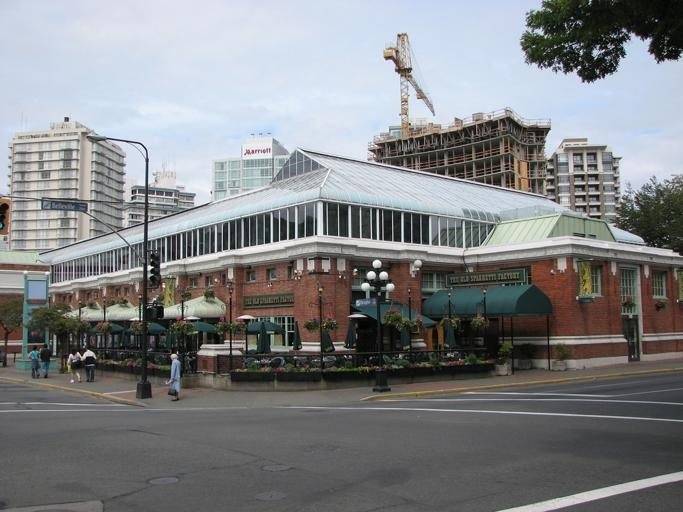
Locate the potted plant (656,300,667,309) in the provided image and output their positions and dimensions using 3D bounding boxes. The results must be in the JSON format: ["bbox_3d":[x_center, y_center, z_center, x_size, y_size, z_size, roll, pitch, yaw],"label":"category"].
[{"bbox_3d":[21.075,3.208,57.791,0.421,0.612,1.318,-5,-8,30],"label":"potted plant"}]

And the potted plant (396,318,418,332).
[{"bbox_3d":[3.306,3.570,45.211,1.234,0.721,1.201,2,-3,-19],"label":"potted plant"}]

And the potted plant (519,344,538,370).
[{"bbox_3d":[10.780,5.823,50.895,1.090,1.402,0.939,-2,-7,11],"label":"potted plant"}]

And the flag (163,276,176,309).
[{"bbox_3d":[-12.081,2.441,61.396,0.418,2.046,1.961,2,-7,-24],"label":"flag"}]

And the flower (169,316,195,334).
[{"bbox_3d":[-8.577,3.841,47.229,1.300,0.858,1.307,4,-8,-11],"label":"flower"}]

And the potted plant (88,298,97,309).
[{"bbox_3d":[-19.738,3.784,69.527,0.647,0.648,0.833,3,7,-45],"label":"potted plant"}]

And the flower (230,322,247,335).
[{"bbox_3d":[-5.552,3.840,46.426,0.772,0.609,0.752,9,-13,-43],"label":"flower"}]

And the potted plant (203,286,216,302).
[{"bbox_3d":[-8.423,2.494,56.073,0.729,0.778,0.757,-1,-4,34],"label":"potted plant"}]

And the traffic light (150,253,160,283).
[{"bbox_3d":[-8.714,0.546,40.765,0.411,1.615,0.881,1,-7,-13],"label":"traffic light"}]

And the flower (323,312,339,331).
[{"bbox_3d":[-0.631,3.474,45.762,0.778,0.596,0.794,-1,-6,41],"label":"flower"}]

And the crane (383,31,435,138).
[{"bbox_3d":[12.492,-32.444,161.296,2.752,16.400,17.177,-14,38,-18],"label":"crane"}]

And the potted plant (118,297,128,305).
[{"bbox_3d":[-16.158,3.357,65.109,0.641,0.708,0.570,-9,-5,-3],"label":"potted plant"}]

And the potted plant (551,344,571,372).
[{"bbox_3d":[12.555,5.846,50.235,1.381,2.119,1.232,1,-11,6],"label":"potted plant"}]

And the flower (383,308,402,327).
[{"bbox_3d":[2.505,3.163,44.223,0.851,0.845,0.870,-10,-20,34],"label":"flower"}]

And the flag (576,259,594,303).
[{"bbox_3d":[14.125,1.444,51.019,1.014,2.451,0.773,-1,-7,-2],"label":"flag"}]

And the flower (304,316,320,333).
[{"bbox_3d":[-1.620,3.603,45.809,0.766,0.568,0.724,8,-12,-40],"label":"flower"}]

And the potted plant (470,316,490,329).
[{"bbox_3d":[7.448,3.598,47.398,0.844,0.647,0.826,4,-7,-21],"label":"potted plant"}]

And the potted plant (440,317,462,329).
[{"bbox_3d":[6.178,3.767,49.328,1.074,0.701,1.031,-1,4,3],"label":"potted plant"}]

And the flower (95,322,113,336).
[{"bbox_3d":[-14.703,4.486,54.520,0.963,0.831,0.946,7,-9,-34],"label":"flower"}]

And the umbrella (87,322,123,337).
[{"bbox_3d":[-16.274,4.967,60.014,2.041,0.671,2.024,5,-8,-39],"label":"umbrella"}]

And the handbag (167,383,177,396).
[{"bbox_3d":[-7.792,6.152,40.281,0.251,0.624,0.741,7,-12,-35],"label":"handbag"}]

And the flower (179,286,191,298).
[{"bbox_3d":[-10.461,2.476,58.816,0.946,0.791,1.032,3,-11,3],"label":"flower"}]
